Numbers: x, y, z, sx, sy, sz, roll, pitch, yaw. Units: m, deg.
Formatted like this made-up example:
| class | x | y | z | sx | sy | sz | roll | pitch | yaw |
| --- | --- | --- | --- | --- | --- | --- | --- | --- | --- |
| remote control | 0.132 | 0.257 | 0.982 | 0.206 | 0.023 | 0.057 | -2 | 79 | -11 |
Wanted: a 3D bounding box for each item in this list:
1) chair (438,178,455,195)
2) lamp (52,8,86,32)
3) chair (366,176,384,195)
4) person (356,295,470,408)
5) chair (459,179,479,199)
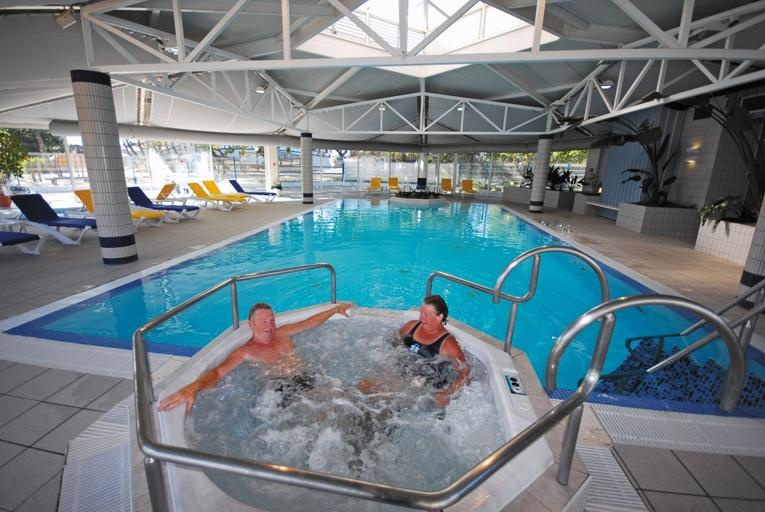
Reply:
| class | x | y | z | sx | sy | sz | roll | pitch | yaw |
| --- | --- | --- | --- | --- | --- | --- | --- | --- | --- |
| chair | 3.530 | -4.039 | 24.190 | 0.862 | 0.780 | 1.307 | 0 | 18 | 4 |
| lamp | -5.318 | -3.995 | 7.136 | 0.480 | 0.295 | 0.301 | -6 | 21 | 25 |
| chair | -0.469 | -3.953 | 23.558 | 1.074 | 0.814 | 1.287 | 1 | 31 | 5 |
| person | 0.657 | 1.076 | 5.068 | 1.113 | 0.793 | 1.564 | 31 | 26 | 33 |
| chair | 4.641 | -3.821 | 23.348 | 0.770 | 0.891 | 2.632 | 2 | 13 | 12 |
